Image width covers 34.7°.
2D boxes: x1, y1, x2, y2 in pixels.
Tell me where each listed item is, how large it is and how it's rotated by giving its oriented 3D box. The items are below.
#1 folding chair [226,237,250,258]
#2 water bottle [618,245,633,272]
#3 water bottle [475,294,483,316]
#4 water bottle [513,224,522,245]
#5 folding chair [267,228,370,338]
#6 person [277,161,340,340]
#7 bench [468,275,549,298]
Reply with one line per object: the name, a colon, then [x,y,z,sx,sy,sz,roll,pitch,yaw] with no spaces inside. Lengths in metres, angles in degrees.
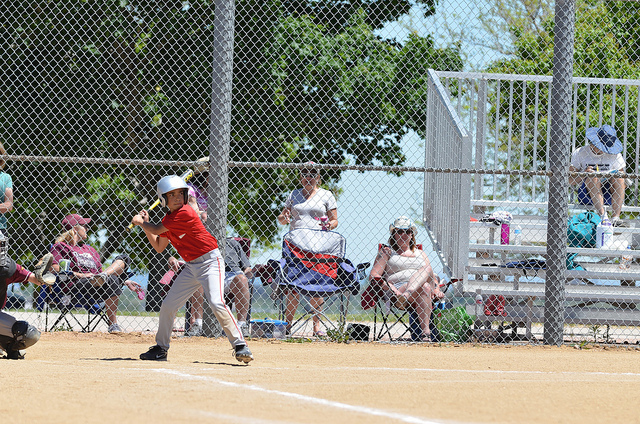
folding chair: [-1.103,0.492,14.281,0.168,0.297,0.397,5,7,35]
water bottle: [4.462,0.726,14.566,0.231,0.532,0.224,4,-2,0]
water bottle: [2.222,1.306,14.328,0.111,0.311,0.088,2,6,7]
water bottle: [2.877,0.326,14.859,0.103,0.305,0.210,2,6,13]
folding chair: [-0.054,0.975,13.970,1.434,1.338,0.950,0,7,-8]
person: [-0.129,0.487,14.519,1.079,2.307,0.975,1,-1,6]
bench: [2.633,1.053,14.257,1.249,0.272,0.795,2,3,5]
